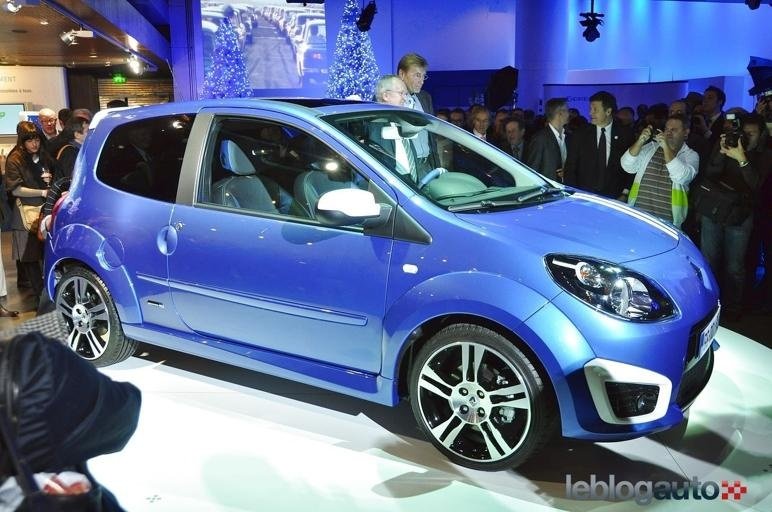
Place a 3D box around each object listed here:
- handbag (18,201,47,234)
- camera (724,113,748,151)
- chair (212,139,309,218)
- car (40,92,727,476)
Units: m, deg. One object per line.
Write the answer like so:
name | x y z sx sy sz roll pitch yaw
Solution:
handbag | -3.430 -0.389 5.238 0.265 0.366 0.156 7 8 21
camera | 3.077 -1.092 4.741 0.194 0.351 0.199 -3 20 42
chair | -0.838 -0.501 3.706 0.609 0.630 0.449 4 13 27
car | -0.126 0.129 3.908 4.111 1.804 2.360 7 15 24
